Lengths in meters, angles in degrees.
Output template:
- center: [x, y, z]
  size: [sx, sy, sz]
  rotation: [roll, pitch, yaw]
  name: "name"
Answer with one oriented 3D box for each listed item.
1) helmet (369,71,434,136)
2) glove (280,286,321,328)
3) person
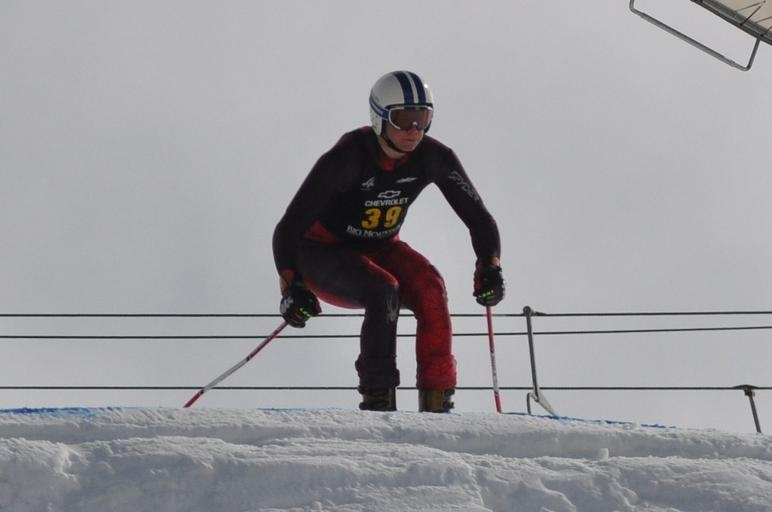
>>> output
- center: [0.078, -0.822, 7.880]
  size: [0.325, 0.360, 0.364]
  rotation: [-7, 14, -33]
  name: "helmet"
- center: [-0.446, 0.278, 7.671]
  size: [0.199, 0.221, 0.275]
  rotation: [1, 13, -4]
  name: "glove"
- center: [-0.001, -0.108, 7.788]
  size: [1.027, 1.680, 1.082]
  rotation: [9, 15, 30]
  name: "person"
